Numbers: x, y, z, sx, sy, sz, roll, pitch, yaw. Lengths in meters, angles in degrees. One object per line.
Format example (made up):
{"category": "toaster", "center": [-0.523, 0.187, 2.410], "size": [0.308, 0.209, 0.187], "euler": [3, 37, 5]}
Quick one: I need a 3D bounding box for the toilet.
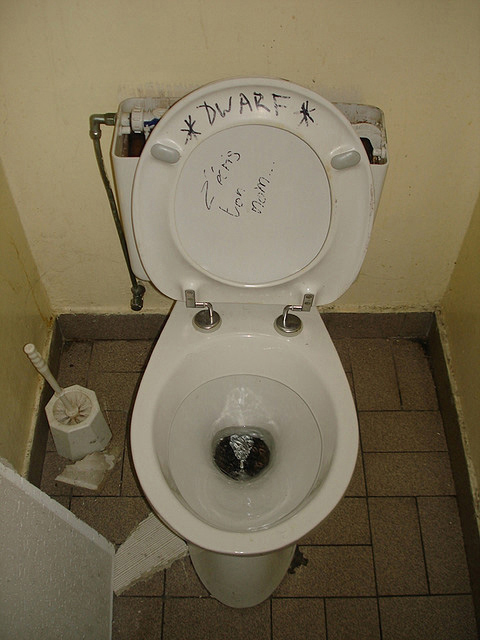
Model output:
{"category": "toilet", "center": [0.007, 0.038, 0.945], "size": [0.429, 0.675, 0.559], "euler": [13, 54, 12]}
